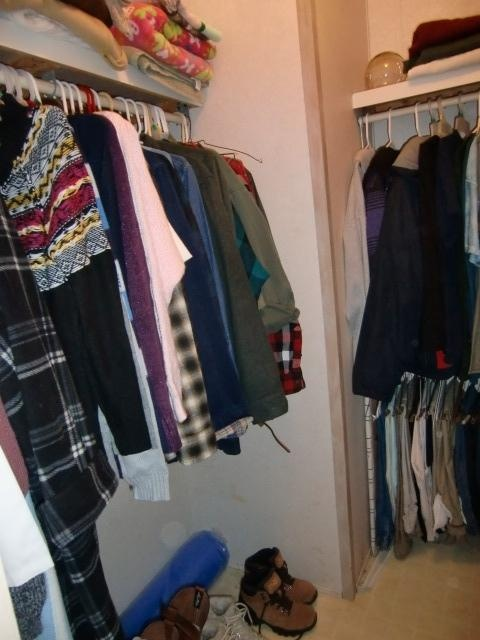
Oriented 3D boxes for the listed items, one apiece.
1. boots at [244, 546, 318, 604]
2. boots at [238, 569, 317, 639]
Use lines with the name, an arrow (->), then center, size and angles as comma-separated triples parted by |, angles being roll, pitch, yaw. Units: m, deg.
boots -> 0.130, 0.784, 1.581 | 0.201, 0.140, 0.069 | 9, 33, 27
boots -> 0.100, 0.810, 1.580 | 0.251, 0.184, 0.122 | 3, 16, 26
